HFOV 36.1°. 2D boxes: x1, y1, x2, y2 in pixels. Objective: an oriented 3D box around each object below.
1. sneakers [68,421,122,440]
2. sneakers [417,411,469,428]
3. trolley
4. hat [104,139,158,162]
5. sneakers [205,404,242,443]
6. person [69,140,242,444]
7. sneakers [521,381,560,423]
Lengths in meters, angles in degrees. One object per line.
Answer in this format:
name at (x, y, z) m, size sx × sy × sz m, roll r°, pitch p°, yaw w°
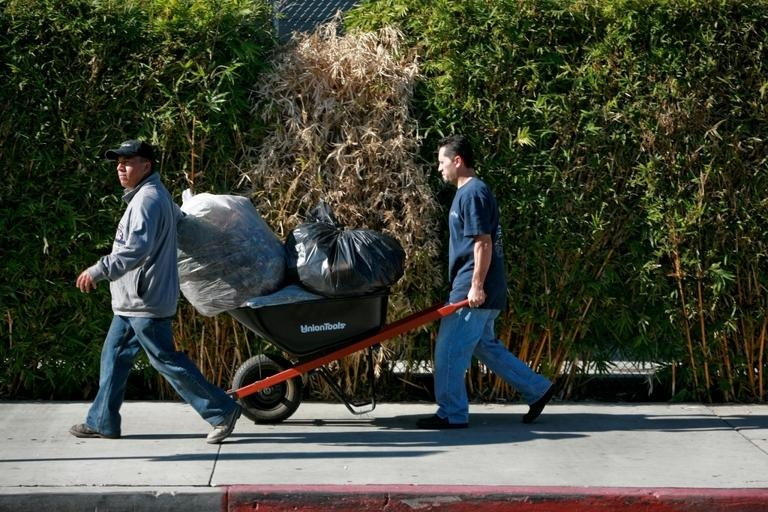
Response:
sneakers at (-2.473, 1.485, 10.031) m, size 0.398 × 0.200 × 0.163 m, roll 12°, pitch -2°, yaw -1°
sneakers at (0.514, 1.447, 10.435) m, size 0.423 × 0.182 × 0.165 m, roll 4°, pitch -6°, yaw -5°
trolley at (-0.323, 0.878, 10.483) m, size 2.194 × 1.120 × 1.125 m, roll -5°, pitch 0°, yaw -2°
hat at (-2.117, -0.882, 9.873) m, size 0.388 × 0.164 × 0.258 m, roll 4°, pitch -4°, yaw -32°
sneakers at (-1.350, 1.392, 9.993) m, size 0.161 × 0.207 × 0.445 m, roll -18°, pitch 16°, yaw 39°
person at (-1.973, 0.294, 9.862) m, size 1.277 × 2.523 × 0.519 m, roll 0°, pitch 3°, yaw -10°
sneakers at (1.374, 1.364, 10.587) m, size 0.382 × 0.162 × 0.123 m, roll -38°, pitch -12°, yaw 35°
